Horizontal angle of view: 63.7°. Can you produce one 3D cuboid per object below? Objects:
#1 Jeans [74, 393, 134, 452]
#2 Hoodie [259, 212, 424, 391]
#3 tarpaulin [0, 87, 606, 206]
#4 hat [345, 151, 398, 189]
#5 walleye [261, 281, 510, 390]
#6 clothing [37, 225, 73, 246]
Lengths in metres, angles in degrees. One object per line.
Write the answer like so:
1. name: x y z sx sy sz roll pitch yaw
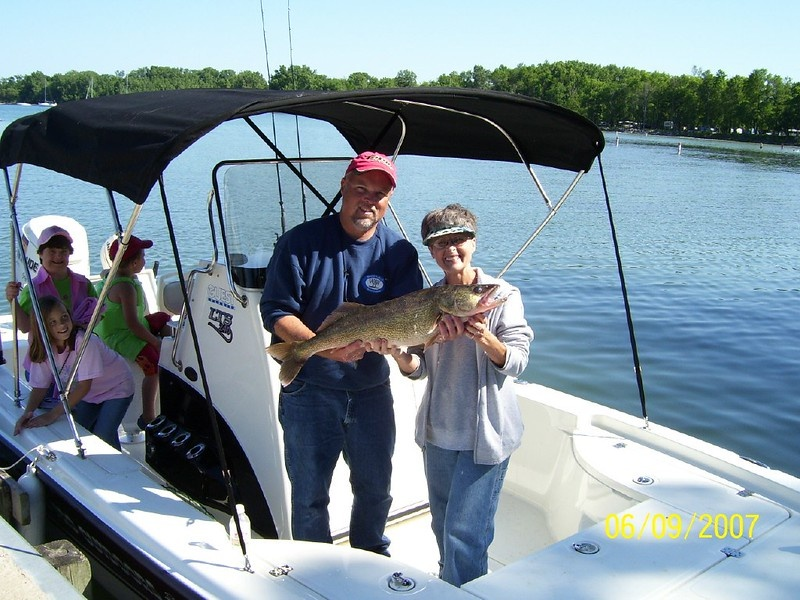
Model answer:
1. Jeans: -2.139 0.874 4.606 0.121 0.243 0.455 13 -9 34
2. Hoodie: -0.327 0.035 3.474 1.013 0.932 0.531 4 11 -12
3. tarpaulin: -0.567 -0.995 4.048 3.538 0.627 1.750 -4 15 -24
4. hat: -0.173 -0.735 3.507 0.276 0.193 0.432 5 19 -12
5. walleye: -0.068 0.177 3.315 1.075 0.314 0.283 -17 -9 8
6. clothing: -2.832 -0.517 5.204 0.186 0.129 0.247 3 -1 -44
